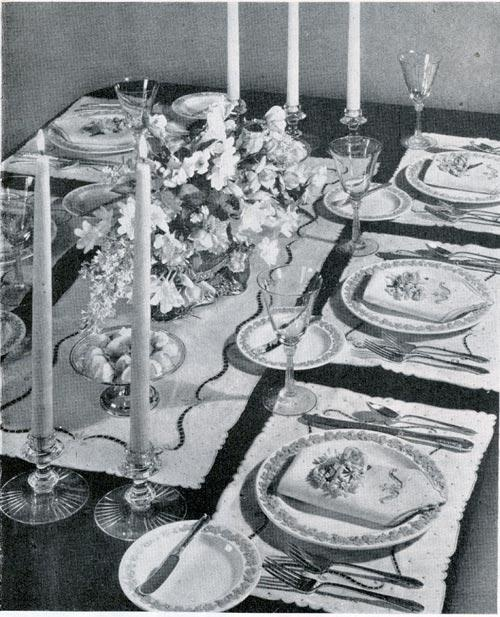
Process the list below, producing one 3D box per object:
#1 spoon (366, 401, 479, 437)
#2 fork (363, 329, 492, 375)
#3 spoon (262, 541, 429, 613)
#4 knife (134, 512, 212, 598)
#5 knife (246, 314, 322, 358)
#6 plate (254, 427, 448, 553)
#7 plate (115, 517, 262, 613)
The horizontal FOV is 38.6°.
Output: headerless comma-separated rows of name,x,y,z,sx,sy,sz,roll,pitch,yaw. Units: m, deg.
spoon,0.159,0.110,0.694,0.127,0.018,0.027,7,48,21
fork,0.183,0.055,0.799,0.156,0.018,0.040,10,41,13
spoon,0.068,0.207,0.539,0.121,0.028,0.035,4,15,18
knife,-0.055,0.186,0.554,0.020,0.013,0.086,31,41,18
knife,0.038,0.032,0.766,0.088,0.009,0.009,-28,-14,-16
plate,0.084,0.152,0.606,0.159,0.051,0.134,-2,13,-10
plate,-0.046,0.199,0.547,0.106,0.040,0.076,-1,13,-3
